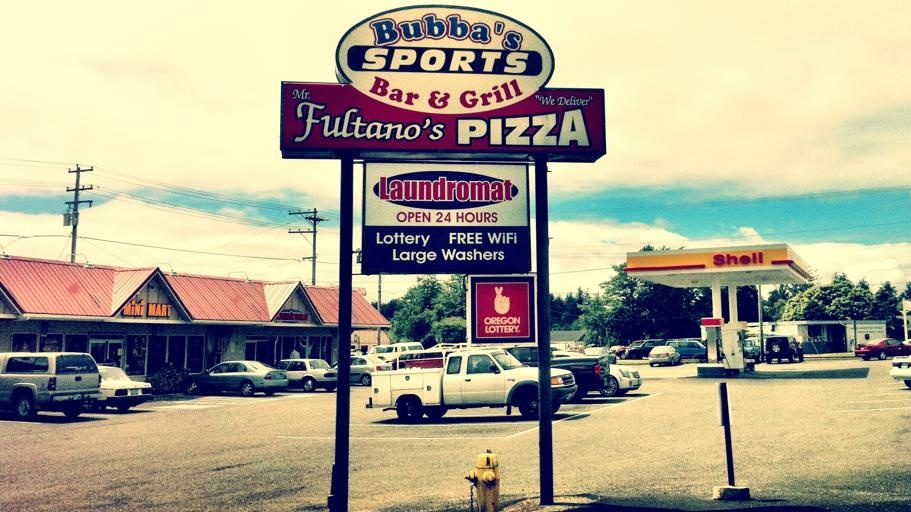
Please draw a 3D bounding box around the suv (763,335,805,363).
[{"bbox_3d":[24.518,6.998,70.879,1.787,1.328,2.979,-1,0,27],"label":"suv"}]

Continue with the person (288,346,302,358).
[{"bbox_3d":[-10.977,6.597,65.185,0.527,0.799,1.191,-5,-11,18],"label":"person"}]

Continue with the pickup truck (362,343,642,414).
[{"bbox_3d":[0.752,5.865,42.912,8.908,2.633,3.849,-3,-6,8],"label":"pickup truck"}]

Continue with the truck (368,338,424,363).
[{"bbox_3d":[-4.260,6.585,65.047,3.210,1.264,1.547,1,-4,0],"label":"truck"}]

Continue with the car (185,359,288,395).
[{"bbox_3d":[-12.599,7.090,54.692,5.339,1.533,2.320,1,-6,13],"label":"car"}]

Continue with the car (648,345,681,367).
[{"bbox_3d":[16.249,7.768,73.881,1.905,1.519,2.162,-5,-11,20],"label":"car"}]

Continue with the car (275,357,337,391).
[{"bbox_3d":[-8.663,7.190,56.943,4.624,1.408,2.246,-1,-5,33],"label":"car"}]

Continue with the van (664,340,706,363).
[{"bbox_3d":[18.467,7.642,75.697,2.790,1.214,1.524,-4,-3,12],"label":"van"}]
